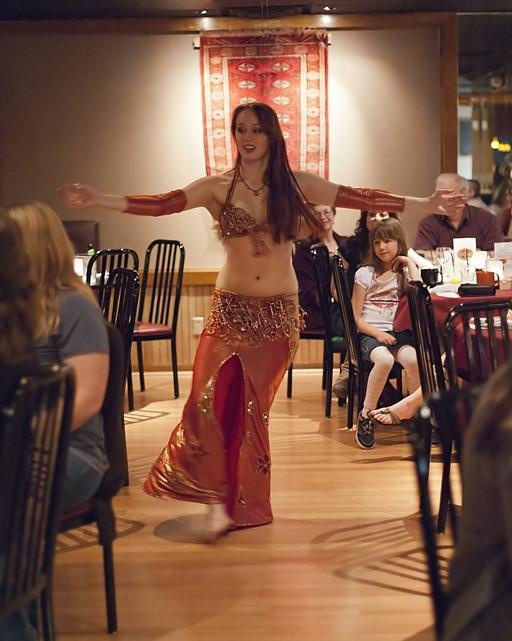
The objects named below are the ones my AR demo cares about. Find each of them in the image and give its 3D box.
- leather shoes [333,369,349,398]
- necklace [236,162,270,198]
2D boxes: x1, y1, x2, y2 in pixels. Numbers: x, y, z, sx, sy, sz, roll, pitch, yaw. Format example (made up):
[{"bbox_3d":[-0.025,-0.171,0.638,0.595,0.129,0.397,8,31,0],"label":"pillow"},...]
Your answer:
[{"bbox_3d":[0.573,0.420,3.887,0.076,0.154,0.222,-3,-25,14],"label":"leather shoes"},{"bbox_3d":[-0.021,-0.552,2.332,0.113,0.147,0.038,-12,-12,-18],"label":"necklace"}]
